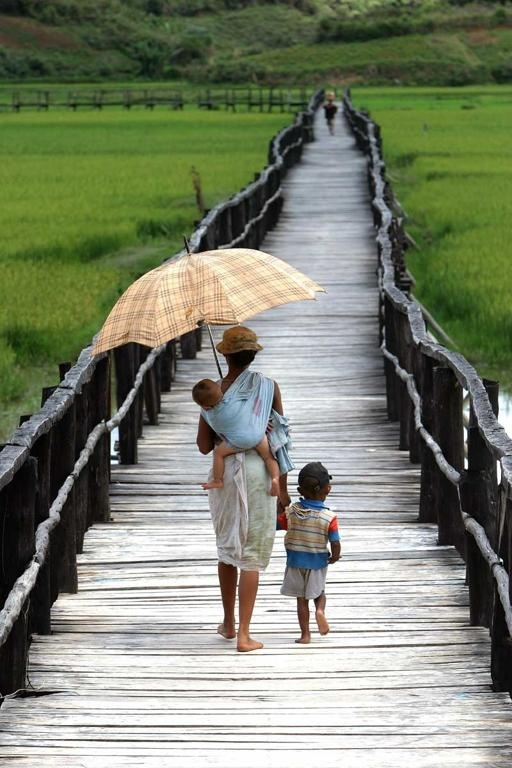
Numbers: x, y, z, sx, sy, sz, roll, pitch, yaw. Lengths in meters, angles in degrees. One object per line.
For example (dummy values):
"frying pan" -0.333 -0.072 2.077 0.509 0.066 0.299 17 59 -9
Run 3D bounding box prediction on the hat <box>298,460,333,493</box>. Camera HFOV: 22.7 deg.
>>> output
"hat" 0.185 0.274 3.964 0.101 0.090 0.154 4 8 13

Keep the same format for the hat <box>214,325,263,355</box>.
"hat" -0.052 -0.134 3.866 0.123 0.093 0.176 -1 10 -3
